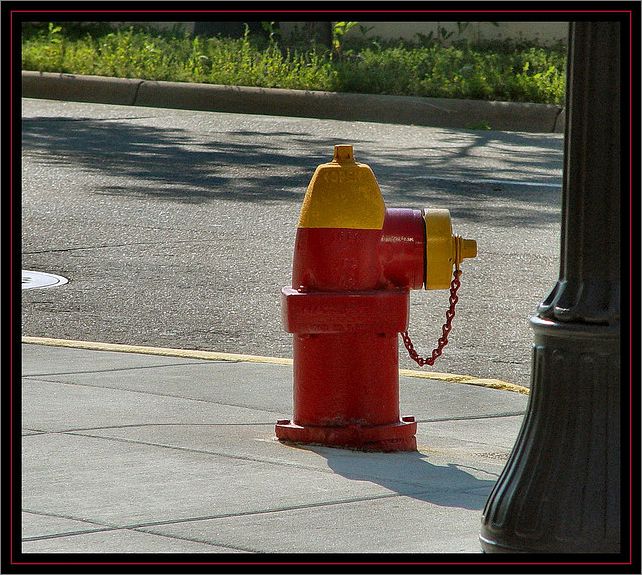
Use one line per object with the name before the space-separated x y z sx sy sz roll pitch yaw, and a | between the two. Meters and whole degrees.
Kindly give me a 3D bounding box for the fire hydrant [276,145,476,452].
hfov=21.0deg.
fire hydrant | 0.214 0.036 8.014 0.798 1.365 0.629 3 15 7
